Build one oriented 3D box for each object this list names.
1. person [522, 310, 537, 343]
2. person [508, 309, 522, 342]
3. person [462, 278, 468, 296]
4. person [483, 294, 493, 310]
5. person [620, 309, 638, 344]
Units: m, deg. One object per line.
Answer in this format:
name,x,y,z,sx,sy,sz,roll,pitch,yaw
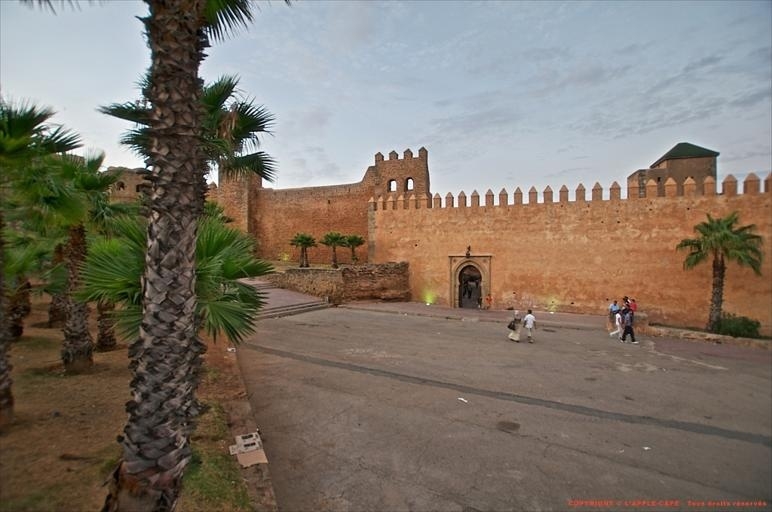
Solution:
person,5.025,2.332,16.974,0.377,1.116,1.912,3,6,17
person,4.372,2.395,16.522,0.397,0.986,0.996,2,6,11
person,5.470,2.264,33.352,0.280,0.992,1.007,2,6,13
person,5.021,2.299,24.081,0.385,0.689,0.658,3,6,22
person,8.251,2.343,16.407,0.525,1.154,0.993,4,6,25
